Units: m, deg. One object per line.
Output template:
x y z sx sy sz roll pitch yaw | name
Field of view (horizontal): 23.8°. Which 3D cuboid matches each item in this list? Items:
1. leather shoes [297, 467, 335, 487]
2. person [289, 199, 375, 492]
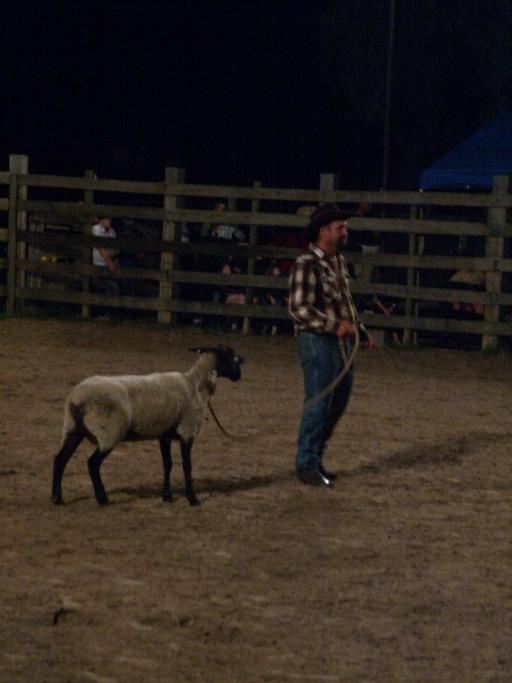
0.339 0.799 7.202 0.237 0.113 0.088 1 5 15 | leather shoes
0.421 0.025 7.181 0.474 1.654 0.433 3 10 5 | person
